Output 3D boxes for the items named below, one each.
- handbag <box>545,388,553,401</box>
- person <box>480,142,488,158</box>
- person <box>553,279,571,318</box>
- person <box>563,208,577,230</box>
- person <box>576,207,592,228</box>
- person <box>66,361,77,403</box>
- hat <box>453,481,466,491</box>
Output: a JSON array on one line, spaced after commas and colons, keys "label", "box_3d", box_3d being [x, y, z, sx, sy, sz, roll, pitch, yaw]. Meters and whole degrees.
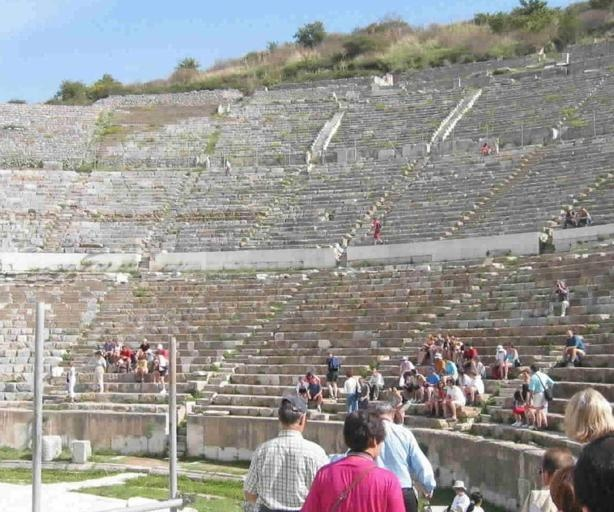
[{"label": "handbag", "box_3d": [7.846, 4.408, 54.077, 0.130, 0.328, 0.457, -5, 0, 20]}, {"label": "person", "box_3d": [7.969, -4.861, 74.753, 0.267, 0.467, 0.881, 5, 40, 16]}, {"label": "person", "box_3d": [9.029, 1.445, 58.699, 0.502, 1.315, 1.121, -1, -5, 6]}, {"label": "person", "box_3d": [10.303, -1.473, 65.234, 0.329, 0.863, 0.472, 9, 12, 23]}, {"label": "person", "box_3d": [10.828, -1.490, 64.975, 0.542, 0.289, 0.780, 1, -14, 13]}, {"label": "person", "box_3d": [-8.943, 4.710, 62.811, 0.386, 1.342, 1.536, 0, -6, -9]}, {"label": "hat", "box_3d": [4.741, 6.971, 51.634, 0.342, 0.212, 0.403, -1, -24, 18]}]
